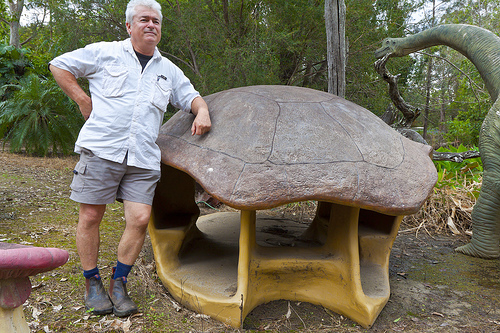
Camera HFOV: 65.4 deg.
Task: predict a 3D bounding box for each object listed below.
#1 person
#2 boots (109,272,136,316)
[{"bbox_3d":[-1.266,-0.128,3.996,1.423,3.170,0.782,-1,9,-24],"label":"person"},{"bbox_3d":[-1.304,1.296,3.949,0.222,0.332,0.479,5,6,-45],"label":"boots"}]
